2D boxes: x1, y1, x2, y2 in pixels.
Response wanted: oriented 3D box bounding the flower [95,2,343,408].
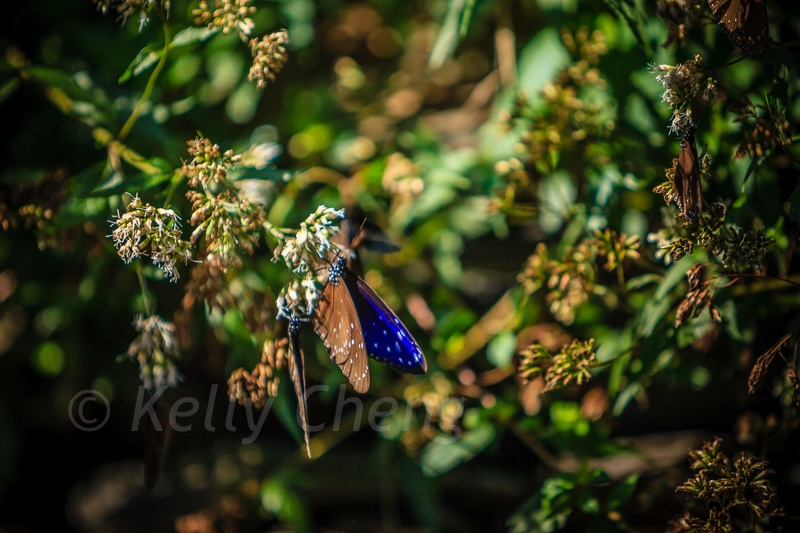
[{"bbox_3d":[-0.353,-0.087,1.821,0.419,0.829,0.230,8,11,-9],"label":"flower"}]
